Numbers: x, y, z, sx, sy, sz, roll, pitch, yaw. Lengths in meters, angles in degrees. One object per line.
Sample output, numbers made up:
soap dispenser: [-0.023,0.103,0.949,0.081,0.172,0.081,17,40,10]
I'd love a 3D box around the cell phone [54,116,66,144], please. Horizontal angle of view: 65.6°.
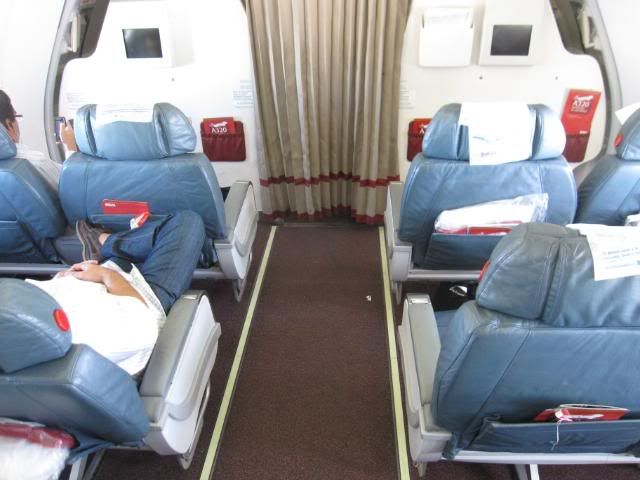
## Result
cell phone: [-2.049,-0.866,3.904,0.101,0.199,0.046,5,11,12]

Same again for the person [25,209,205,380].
person: [-0.966,0.210,2.394,0.580,0.334,0.899,3,34,7]
